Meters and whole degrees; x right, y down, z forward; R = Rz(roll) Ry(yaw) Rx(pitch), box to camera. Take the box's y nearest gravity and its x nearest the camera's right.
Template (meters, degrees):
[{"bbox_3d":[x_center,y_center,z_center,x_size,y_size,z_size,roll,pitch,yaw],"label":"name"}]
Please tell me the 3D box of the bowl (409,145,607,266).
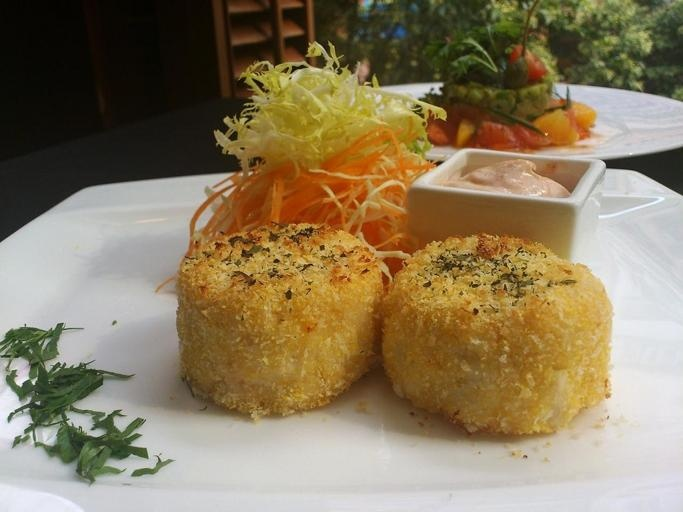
[{"bbox_3d":[0.657,-0.203,2.589,0.694,0.301,0.679,-4,27,2],"label":"bowl"}]
